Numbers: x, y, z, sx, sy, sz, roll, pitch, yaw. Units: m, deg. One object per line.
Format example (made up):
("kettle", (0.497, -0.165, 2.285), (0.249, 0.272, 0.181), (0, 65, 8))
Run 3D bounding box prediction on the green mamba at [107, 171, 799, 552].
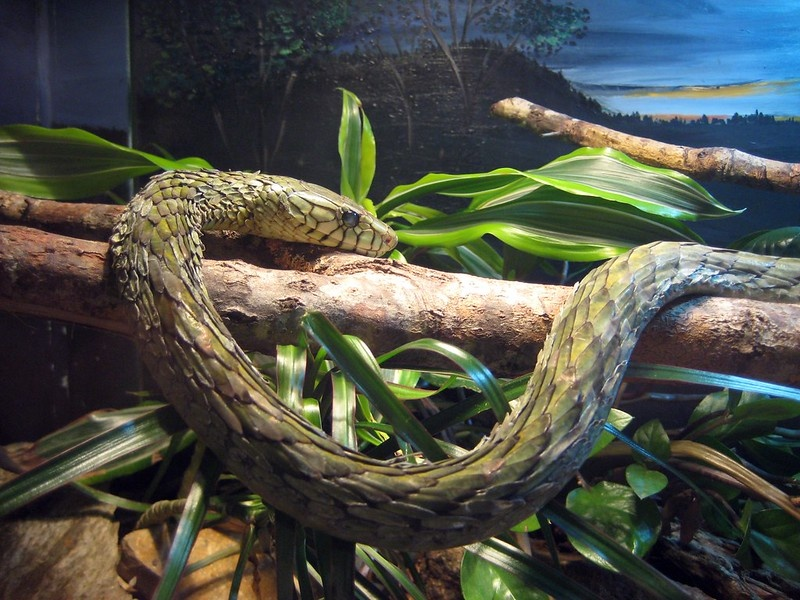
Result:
("green mamba", (0.386, 0.255, 2.707), (2.287, 0.272, 1.479), (-3, 39, -22))
